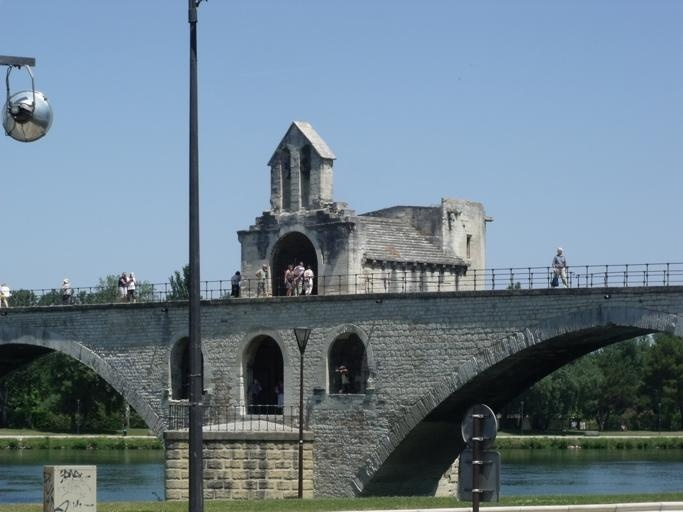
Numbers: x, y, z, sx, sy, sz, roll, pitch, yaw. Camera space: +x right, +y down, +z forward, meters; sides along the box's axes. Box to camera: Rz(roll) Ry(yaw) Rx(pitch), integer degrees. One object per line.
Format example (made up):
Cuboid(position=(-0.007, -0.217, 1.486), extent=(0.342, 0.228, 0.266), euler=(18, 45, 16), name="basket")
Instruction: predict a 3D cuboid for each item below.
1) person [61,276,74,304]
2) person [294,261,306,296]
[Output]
Cuboid(position=(-18.390, 2.426, 140.194), extent=(0.675, 1.623, 2.450), euler=(0, -6, -9), name="person")
Cuboid(position=(-2.655, 1.364, 133.883), extent=(0.685, 2.081, 1.319), euler=(-1, -6, -2), name="person")
